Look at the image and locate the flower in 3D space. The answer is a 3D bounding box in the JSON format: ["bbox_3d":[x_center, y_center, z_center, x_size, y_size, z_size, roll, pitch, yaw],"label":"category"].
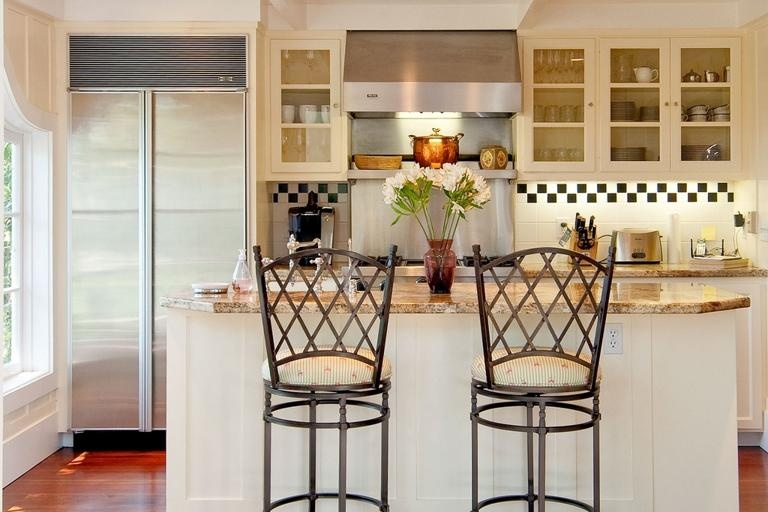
[{"bbox_3d":[0.364,-0.246,4.245,0.481,0.531,0.558,0,-10,11],"label":"flower"}]

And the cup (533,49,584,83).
[{"bbox_3d":[1.405,-1.541,5.690,0.489,0.323,0.258,0,-4,1],"label":"cup"}]

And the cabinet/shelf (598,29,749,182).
[{"bbox_3d":[2.354,-1.234,5.652,1.265,1.142,0.433,0,-2,1],"label":"cabinet/shelf"}]

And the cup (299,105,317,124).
[{"bbox_3d":[-0.612,-1.158,5.793,0.149,0.153,0.144,0,-5,0],"label":"cup"}]

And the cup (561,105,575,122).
[{"bbox_3d":[1.496,-1.155,5.702,0.125,0.123,0.121,2,0,0],"label":"cup"}]

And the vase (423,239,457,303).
[{"bbox_3d":[0.334,0.061,4.223,0.270,0.310,0.261,-1,3,-21],"label":"vase"}]

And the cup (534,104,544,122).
[{"bbox_3d":[1.257,-1.164,5.705,0.084,0.126,0.130,0,-4,14],"label":"cup"}]

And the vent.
[{"bbox_3d":[0.367,-1.557,5.795,1.399,0.606,0.673,-3,26,-8],"label":"vent"}]

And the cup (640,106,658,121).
[{"bbox_3d":[2.140,-1.156,5.684,0.123,0.085,0.120,0,-1,0],"label":"cup"}]

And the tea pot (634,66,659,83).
[{"bbox_3d":[2.111,-1.468,5.674,0.165,0.106,0.120,2,3,9],"label":"tea pot"}]

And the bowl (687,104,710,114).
[{"bbox_3d":[2.528,-1.187,5.676,0.110,0.040,0.085,1,0,-1],"label":"bowl"}]

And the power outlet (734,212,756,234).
[{"bbox_3d":[2.893,-0.273,5.631,0.139,0.170,0.239,-1,1,9],"label":"power outlet"}]

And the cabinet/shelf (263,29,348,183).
[{"bbox_3d":[-0.639,-1.215,5.808,0.653,1.096,0.339,-1,4,-6],"label":"cabinet/shelf"}]

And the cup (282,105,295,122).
[{"bbox_3d":[-0.784,-1.157,5.695,0.131,0.140,0.127,0,6,0],"label":"cup"}]

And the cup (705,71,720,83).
[{"bbox_3d":[2.628,-1.449,5.652,0.108,0.102,0.089,2,1,7],"label":"cup"}]

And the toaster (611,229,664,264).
[{"bbox_3d":[2.080,-0.075,5.873,0.458,0.282,0.424,2,-3,-24],"label":"toaster"}]

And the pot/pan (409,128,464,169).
[{"bbox_3d":[0.430,-0.894,5.821,0.500,0.343,0.396,-1,8,7],"label":"pot/pan"}]
